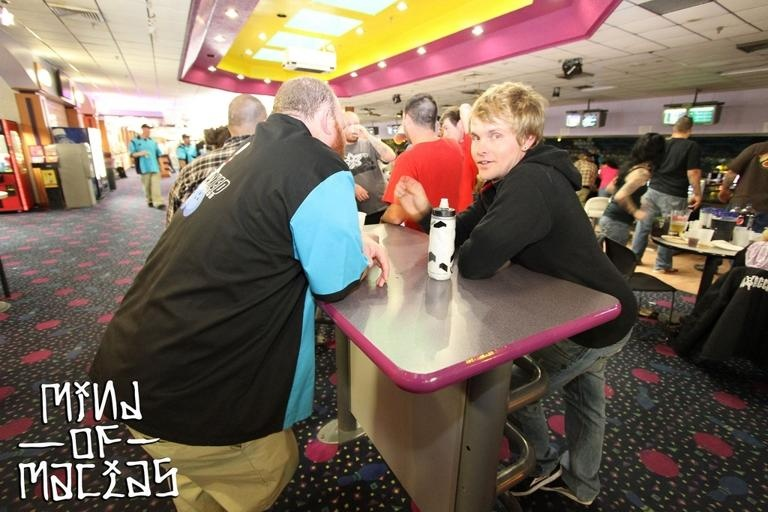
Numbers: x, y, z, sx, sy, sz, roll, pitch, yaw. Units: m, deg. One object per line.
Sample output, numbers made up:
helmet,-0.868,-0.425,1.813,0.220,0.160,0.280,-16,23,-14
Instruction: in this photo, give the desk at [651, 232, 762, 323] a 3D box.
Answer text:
desk,3.186,0.244,4.466,0.894,0.877,0.858,3,14,18

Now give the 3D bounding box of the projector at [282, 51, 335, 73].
projector,-1.454,-3.695,8.205,0.556,0.338,0.909,13,20,34

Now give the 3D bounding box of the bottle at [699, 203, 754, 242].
bottle,3.700,-0.344,4.560,0.652,0.401,0.389,-3,1,-1
